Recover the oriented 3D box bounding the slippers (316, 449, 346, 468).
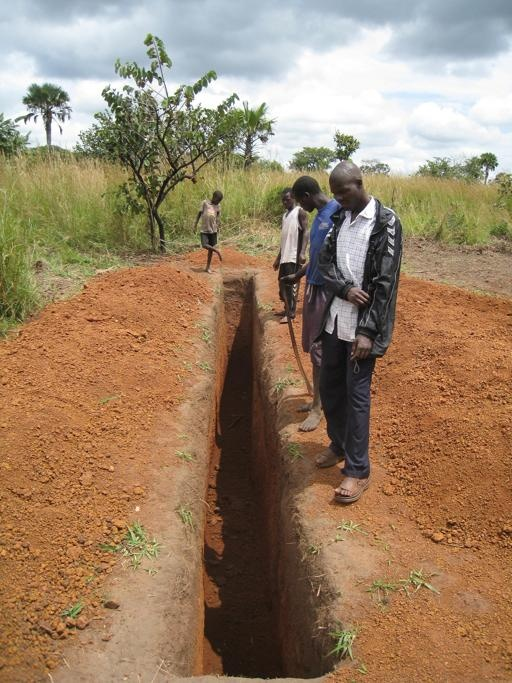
[{"bbox_3d":[0.449,0.691,3.308,0.187,0.078,0.085,-1,5,-25],"label":"slippers"}]

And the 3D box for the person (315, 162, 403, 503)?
[{"bbox_3d":[0.514,-0.005,2.851,0.330,1.757,0.525,-4,16,-7],"label":"person"}]

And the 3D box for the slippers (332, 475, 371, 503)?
[{"bbox_3d":[0.512,0.790,2.947,0.098,0.104,0.230,-1,0,38],"label":"slippers"}]
